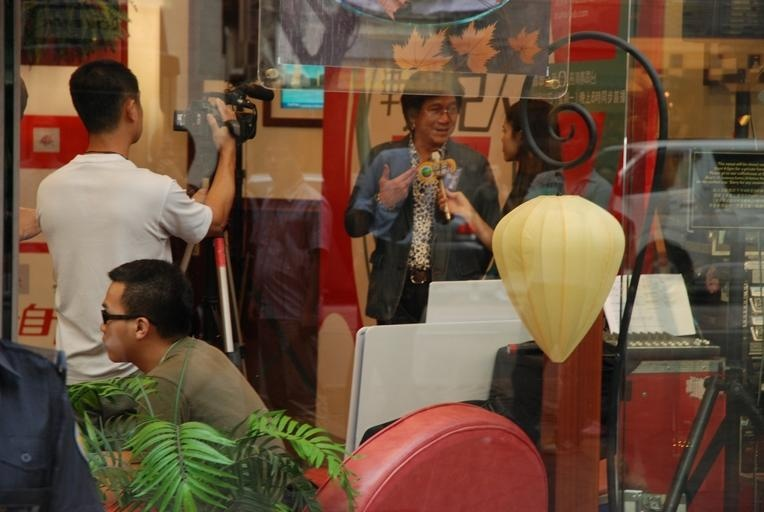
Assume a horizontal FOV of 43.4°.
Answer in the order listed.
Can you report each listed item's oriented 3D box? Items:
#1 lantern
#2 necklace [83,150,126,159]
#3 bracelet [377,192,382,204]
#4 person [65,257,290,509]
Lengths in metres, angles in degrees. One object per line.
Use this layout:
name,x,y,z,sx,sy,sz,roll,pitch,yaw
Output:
lantern,0.364,0.058,2.435,0.330,0.477,0.361,0,0,-2
necklace,-0.763,-0.285,2.661,0.106,0.022,0.019,-1,6,-19
bracelet,-0.011,-0.169,2.740,0.016,0.025,0.009,-1,2,-29
person,-0.554,0.360,2.950,0.547,0.827,0.512,-13,-7,20
